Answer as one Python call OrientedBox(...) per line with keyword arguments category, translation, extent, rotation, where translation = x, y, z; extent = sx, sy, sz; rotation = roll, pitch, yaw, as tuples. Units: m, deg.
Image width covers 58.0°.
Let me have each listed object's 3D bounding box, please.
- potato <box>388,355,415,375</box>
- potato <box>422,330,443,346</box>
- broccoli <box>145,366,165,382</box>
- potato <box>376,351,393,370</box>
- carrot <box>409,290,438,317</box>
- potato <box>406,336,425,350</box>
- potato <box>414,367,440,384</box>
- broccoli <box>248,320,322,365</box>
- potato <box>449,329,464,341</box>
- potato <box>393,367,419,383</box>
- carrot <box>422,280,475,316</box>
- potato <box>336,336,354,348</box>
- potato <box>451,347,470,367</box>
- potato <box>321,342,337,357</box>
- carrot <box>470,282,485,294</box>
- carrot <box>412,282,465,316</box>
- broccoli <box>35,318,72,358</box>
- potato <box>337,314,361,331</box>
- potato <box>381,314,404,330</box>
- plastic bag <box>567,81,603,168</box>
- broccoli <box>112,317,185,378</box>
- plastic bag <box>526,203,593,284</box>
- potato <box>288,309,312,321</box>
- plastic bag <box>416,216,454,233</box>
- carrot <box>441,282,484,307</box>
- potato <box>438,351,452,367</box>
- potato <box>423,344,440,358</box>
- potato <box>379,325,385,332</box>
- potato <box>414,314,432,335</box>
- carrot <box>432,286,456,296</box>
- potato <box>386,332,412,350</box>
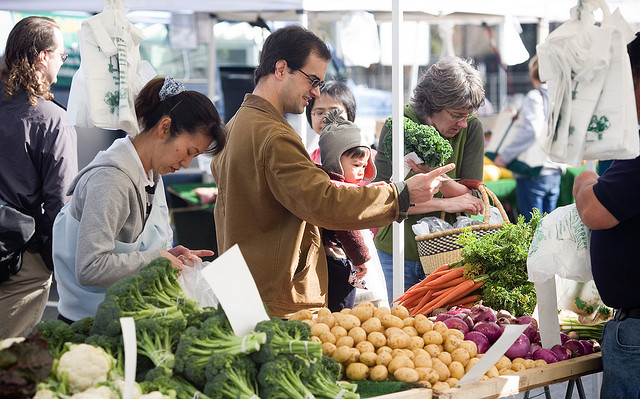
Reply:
OrientedBox(category="potato", translation=(0.416, 0.845, 2.967), extent=(0.113, 0.065, 0.086), rotation=(0, 2, 11))
OrientedBox(category="potato", translation=(0.607, 0.742, 3.100), extent=(0.083, 0.049, 0.065), rotation=(-1, -28, -7))
OrientedBox(category="broccoli", translation=(-0.783, 0.822, 2.729), extent=(0.079, 0.035, 0.064), rotation=(-38, 25, 23))
OrientedBox(category="potato", translation=(0.334, 0.824, 2.985), extent=(0.070, 0.068, 0.080), rotation=(11, 35, -9))
OrientedBox(category="carrot", translation=(0.691, 0.654, 3.803), extent=(0.300, 0.035, 0.050), rotation=(-44, 3, 11))
OrientedBox(category="potato", translation=(0.507, 0.757, 3.071), extent=(0.078, 0.044, 0.059), rotation=(-7, 6, -15))
OrientedBox(category="potato", translation=(0.549, 0.890, 2.936), extent=(0.092, 0.050, 0.068), rotation=(11, 8, 12))
OrientedBox(category="broccoli", translation=(-0.166, 0.679, 2.712), extent=(0.342, 0.198, 0.089), rotation=(1, 3, -5))
OrientedBox(category="potato", translation=(0.751, 0.732, 3.164), extent=(0.062, 0.032, 0.052), rotation=(33, 0, 35))
OrientedBox(category="potato", translation=(0.440, 0.888, 2.923), extent=(0.087, 0.049, 0.068), rotation=(4, 45, 1))
OrientedBox(category="carrot", translation=(0.835, 0.626, 3.676), extent=(0.347, 0.050, 0.050), rotation=(-32, 23, 8))
OrientedBox(category="potato", translation=(0.133, 0.749, 3.048), extent=(0.053, 0.039, 0.069), rotation=(-8, 0, -3))
OrientedBox(category="potato", translation=(0.750, 0.830, 3.051), extent=(0.088, 0.107, 0.082), rotation=(12, -3, -36))
OrientedBox(category="potato", translation=(0.046, 0.782, 3.032), extent=(0.067, 0.082, 0.066), rotation=(2, -1, 12))
OrientedBox(category="carrot", translation=(1.011, 0.558, 3.695), extent=(0.108, 0.020, 0.016), rotation=(-38, 22, 13))
OrientedBox(category="carrot", translation=(0.774, 0.633, 3.700), extent=(0.367, 0.042, 0.037), rotation=(-33, 30, 12))
OrientedBox(category="broccoli", translation=(-1.294, 0.653, 2.809), extent=(0.152, 0.168, 0.159), rotation=(4, 7, 18))
OrientedBox(category="potato", translation=(0.156, 0.659, 3.134), extent=(0.086, 0.048, 0.087), rotation=(9, 10, 27))
OrientedBox(category="potato", translation=(0.392, 0.667, 3.142), extent=(0.092, 0.050, 0.071), rotation=(8, -7, -40))
OrientedBox(category="plastic bag", translation=(1.314, -0.388, 2.893), extent=(0.114, 0.352, 0.263), rotation=(8, 6, -38))
OrientedBox(category="broccoli", translation=(-0.819, 0.673, 2.847), extent=(0.297, 0.261, 0.250), rotation=(4, 8, 39))
OrientedBox(category="plastic bag", translation=(1.349, 0.255, 3.223), extent=(0.329, 0.457, 0.199), rotation=(3, 4, 26))
OrientedBox(category="potato", translation=(-0.116, 0.672, 3.357), extent=(0.139, 0.054, 0.064), rotation=(-21, 44, 20))
OrientedBox(category="plastic bag", translation=(0.816, 0.173, 4.061), extent=(0.207, 0.098, 0.298), rotation=(2, 3, 14))
OrientedBox(category="carrot", translation=(0.908, 0.601, 3.694), extent=(0.245, 0.034, 0.035), rotation=(-33, -16, 1))
OrientedBox(category="potato", translation=(0.661, 0.836, 3.038), extent=(0.061, 0.074, 0.061), rotation=(-7, 5, -1))
OrientedBox(category="potato", translation=(0.600, 0.799, 3.052), extent=(0.050, 0.038, 0.068), rotation=(1, 6, -1))
OrientedBox(category="potato", translation=(0.341, 0.702, 3.143), extent=(0.020, 0.011, 0.020), rotation=(-12, 21, -15))
OrientedBox(category="potato", translation=(0.568, 0.679, 3.186), extent=(0.077, 0.100, 0.055), rotation=(4, -36, -41))
OrientedBox(category="carrot", translation=(0.805, 0.582, 3.705), extent=(0.131, 0.015, 0.014), rotation=(-25, -6, 8))
OrientedBox(category="potato", translation=(0.415, 0.746, 3.054), extent=(0.098, 0.076, 0.055), rotation=(-5, -24, 2))
